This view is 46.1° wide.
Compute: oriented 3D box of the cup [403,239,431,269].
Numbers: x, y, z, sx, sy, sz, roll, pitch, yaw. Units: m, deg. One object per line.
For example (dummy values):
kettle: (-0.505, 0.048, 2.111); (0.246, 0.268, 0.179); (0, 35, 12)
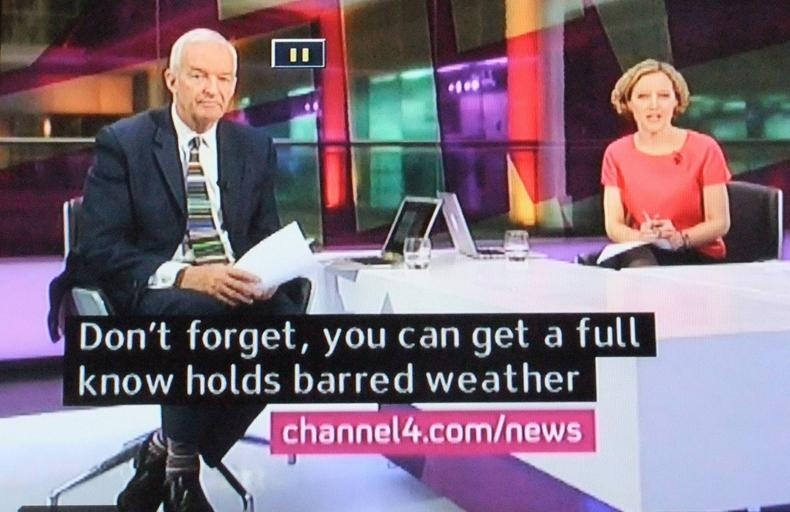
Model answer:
cup: (0.100, -0.007, 4.329); (0.132, 0.128, 0.132); (1, 2, 0)

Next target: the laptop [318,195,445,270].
laptop: (-0.032, -0.134, 4.553); (0.424, 0.253, 0.442); (1, 2, -12)

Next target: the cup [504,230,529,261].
cup: (0.578, -0.047, 4.452); (0.123, 0.168, 0.134); (2, 8, 0)

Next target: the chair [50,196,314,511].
chair: (-1.235, 0.446, 4.597); (1.330, 1.600, 1.278); (2, -2, -18)

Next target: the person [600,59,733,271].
person: (1.384, -0.486, 4.791); (0.636, 0.853, 0.377); (-2, 1, 15)
